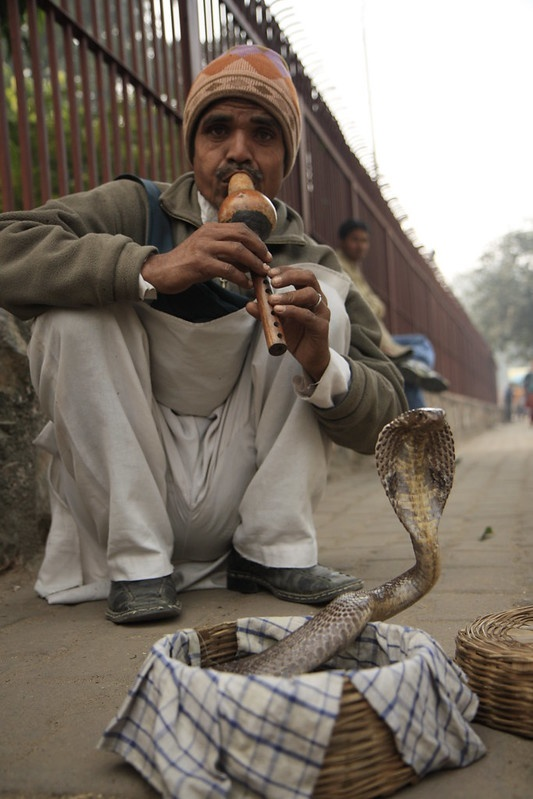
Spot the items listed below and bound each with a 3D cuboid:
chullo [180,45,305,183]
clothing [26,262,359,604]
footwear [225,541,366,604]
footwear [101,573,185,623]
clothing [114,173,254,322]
[{"bbox_3d":[-0.060,-0.756,2.056,0.240,0.205,0.315,1,-11,-4],"label":"chullo"},{"bbox_3d":[-0.148,0.030,1.851,0.757,0.789,0.707,1,1,-10],"label":"clothing"},{"bbox_3d":[0.045,0.368,1.740,0.345,0.144,0.114,-2,-4,26],"label":"footwear"},{"bbox_3d":[-0.250,0.402,1.590,0.067,0.076,0.171,14,-23,-41],"label":"footwear"},{"bbox_3d":[-0.204,-0.360,1.908,0.274,0.330,0.119,-5,-1,-27],"label":"clothing"}]
